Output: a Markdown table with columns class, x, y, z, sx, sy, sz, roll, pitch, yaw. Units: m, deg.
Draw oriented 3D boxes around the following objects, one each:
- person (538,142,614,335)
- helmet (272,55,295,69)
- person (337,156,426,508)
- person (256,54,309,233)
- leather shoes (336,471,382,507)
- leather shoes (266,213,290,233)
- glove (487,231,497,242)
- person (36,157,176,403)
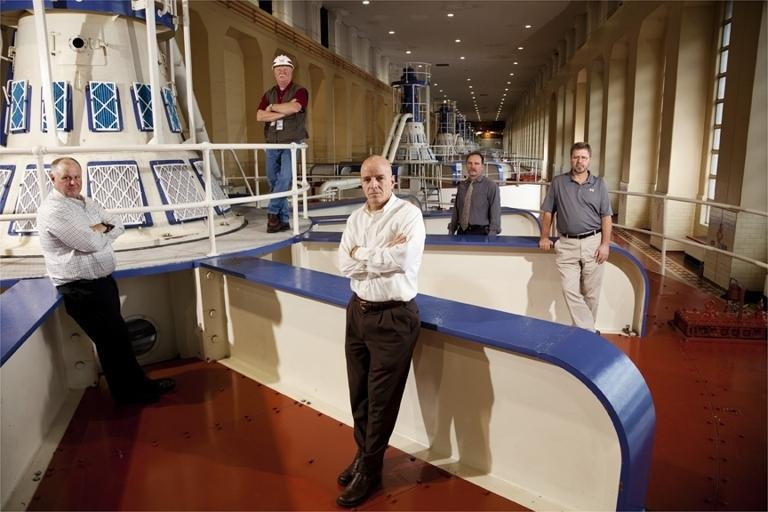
| class | x | y | z | sx | sy | sz | roll | pitch | yaw |
| --- | --- | --- | --- | --- | --- | --- | --- | --- | --- |
| person | 2.213 | -0.206 | 5.756 | 0.732 | 2.140 | 0.380 | 8 | 13 | 27 |
| helmet | -1.268 | -2.422 | 6.178 | 0.210 | 0.188 | 0.360 | 0 | 12 | -6 |
| person | -0.084 | 0.549 | 3.835 | 0.696 | 2.582 | 0.636 | -5 | 14 | -29 |
| person | -1.312 | -1.432 | 6.420 | 0.612 | 2.310 | 0.640 | -1 | 12 | -12 |
| leather shoes | -0.196 | 1.786 | 3.751 | 0.158 | 0.147 | 0.351 | 1 | -1 | 33 |
| leather shoes | -1.482 | -0.428 | 6.710 | 0.156 | 0.282 | 0.398 | 6 | 17 | 21 |
| glove | 1.441 | -0.246 | 6.604 | 0.122 | 0.035 | 0.694 | 5 | 12 | 14 |
| person | -2.598 | 0.326 | 4.468 | 0.760 | 2.338 | 0.209 | -6 | 14 | -30 |
